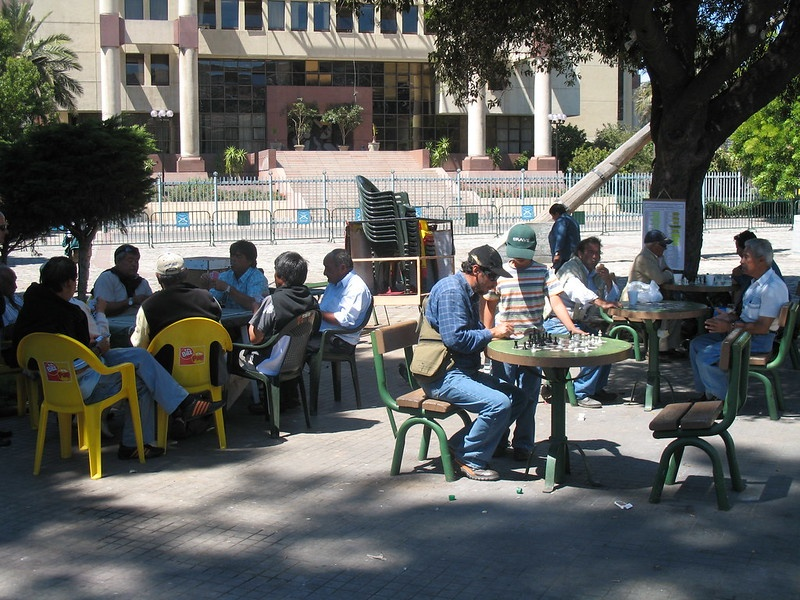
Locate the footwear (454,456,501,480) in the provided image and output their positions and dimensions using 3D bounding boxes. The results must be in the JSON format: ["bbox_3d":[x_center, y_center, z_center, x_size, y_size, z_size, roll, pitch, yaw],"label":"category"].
[{"bbox_3d":[0.656,1.429,6.791,0.344,0.150,0.139,2,1,27],"label":"footwear"}]

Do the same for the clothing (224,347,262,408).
[{"bbox_3d":[-1.709,0.702,8.206,0.369,0.470,0.343,-15,-22,28],"label":"clothing"}]

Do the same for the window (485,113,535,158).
[{"bbox_3d":[9.774,-13.567,65.707,3.448,3.168,1.784,8,19,31],"label":"window"}]

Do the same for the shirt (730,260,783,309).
[{"bbox_3d":[4.482,-0.351,10.023,0.601,0.346,0.840,-13,-3,22],"label":"shirt"}]

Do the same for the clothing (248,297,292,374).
[{"bbox_3d":[-1.331,0.348,7.982,0.428,0.793,0.227,-3,10,-10],"label":"clothing"}]

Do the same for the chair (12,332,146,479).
[{"bbox_3d":[-2.861,0.872,7.137,1.018,1.216,1.003,-2,5,-25],"label":"chair"}]

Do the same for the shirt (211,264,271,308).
[{"bbox_3d":[-1.868,-0.162,9.298,0.481,0.469,0.595,10,0,43],"label":"shirt"}]

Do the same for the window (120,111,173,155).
[{"bbox_3d":[-18.037,-11.739,57.226,4.777,3.191,0.283,3,7,9],"label":"window"}]

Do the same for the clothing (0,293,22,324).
[{"bbox_3d":[-4.121,0.084,8.371,0.178,0.299,0.321,0,4,11],"label":"clothing"}]

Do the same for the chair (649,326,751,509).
[{"bbox_3d":[2.410,0.970,6.432,0.804,1.175,0.881,-3,-4,38],"label":"chair"}]

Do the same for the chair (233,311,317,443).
[{"bbox_3d":[-1.312,0.696,8.340,0.851,1.203,0.814,3,4,32],"label":"chair"}]

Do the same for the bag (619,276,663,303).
[{"bbox_3d":[3.042,-0.141,9.949,0.412,0.251,0.542,1,0,17],"label":"bag"}]

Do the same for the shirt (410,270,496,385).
[{"bbox_3d":[0.446,0.166,7.024,0.807,1.008,1.106,-2,4,2],"label":"shirt"}]

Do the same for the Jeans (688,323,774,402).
[{"bbox_3d":[3.150,0.653,7.983,0.653,0.671,0.518,3,16,33],"label":"Jeans"}]

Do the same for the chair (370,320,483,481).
[{"bbox_3d":[0.255,0.840,7.135,0.926,1.186,1.013,7,11,38],"label":"chair"}]

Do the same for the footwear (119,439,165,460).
[{"bbox_3d":[-2.368,1.370,7.315,0.422,0.170,0.138,1,1,-15],"label":"footwear"}]

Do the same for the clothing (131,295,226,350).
[{"bbox_3d":[-2.082,0.218,7.577,0.498,0.670,0.970,-15,-17,43],"label":"clothing"}]

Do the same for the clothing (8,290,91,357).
[{"bbox_3d":[-3.131,0.103,7.019,0.549,0.519,0.396,-7,49,-31],"label":"clothing"}]

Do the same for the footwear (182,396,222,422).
[{"bbox_3d":[-1.907,0.985,7.426,0.461,0.184,0.150,-9,10,-25],"label":"footwear"}]

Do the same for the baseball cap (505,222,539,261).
[{"bbox_3d":[1.160,-0.548,7.613,0.256,0.192,0.353,7,48,6],"label":"baseball cap"}]

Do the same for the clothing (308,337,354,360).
[{"bbox_3d":[-0.784,0.509,8.987,0.348,0.242,0.248,1,-2,-36],"label":"clothing"}]

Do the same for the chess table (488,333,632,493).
[{"bbox_3d":[1.332,0.991,6.583,1.273,1.152,1.234,10,-13,-34],"label":"chess table"}]

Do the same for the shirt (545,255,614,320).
[{"bbox_3d":[2.074,-0.190,9.617,0.800,0.775,0.668,6,12,31],"label":"shirt"}]

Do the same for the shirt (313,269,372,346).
[{"bbox_3d":[-0.691,0.004,9.352,0.539,0.796,0.944,0,17,-28],"label":"shirt"}]

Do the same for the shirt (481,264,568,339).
[{"bbox_3d":[1.217,0.016,7.877,0.706,0.589,0.274,8,9,-1],"label":"shirt"}]

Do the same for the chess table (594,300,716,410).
[{"bbox_3d":[2.860,0.578,8.957,1.176,1.220,1.167,3,7,35],"label":"chess table"}]

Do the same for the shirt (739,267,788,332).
[{"bbox_3d":[3.659,-0.038,8.003,0.388,0.609,0.695,1,12,3],"label":"shirt"}]

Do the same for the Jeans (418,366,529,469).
[{"bbox_3d":[0.653,0.966,6.866,0.929,0.984,0.707,0,2,12],"label":"Jeans"}]

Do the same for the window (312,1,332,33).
[{"bbox_3d":[-5.805,-20.823,58.350,1.294,1.979,0.420,-2,10,-7],"label":"window"}]

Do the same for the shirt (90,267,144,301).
[{"bbox_3d":[-3.197,-0.209,9.103,0.622,0.398,0.338,0,2,-39],"label":"shirt"}]
